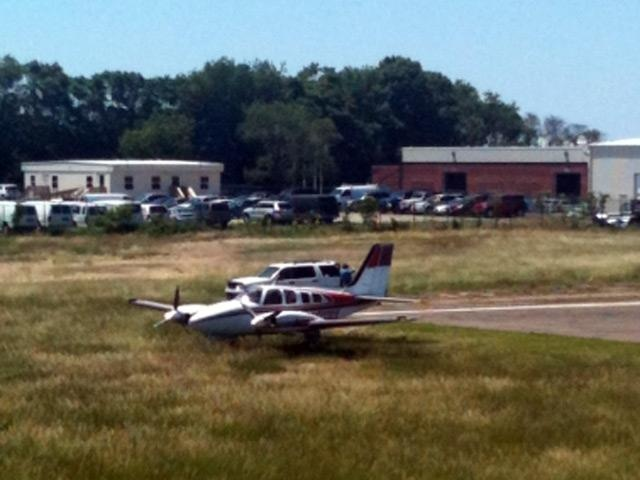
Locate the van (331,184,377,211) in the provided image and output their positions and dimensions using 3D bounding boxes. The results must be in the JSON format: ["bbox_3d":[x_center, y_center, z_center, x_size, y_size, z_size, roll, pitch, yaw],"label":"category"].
[{"bbox_3d":[2.775,-3.343,107.279,2.937,1.714,1.873,-1,5,-1],"label":"van"}]

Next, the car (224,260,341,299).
[{"bbox_3d":[-1.479,2.215,65.358,4.006,1.989,2.285,2,0,-20],"label":"car"}]

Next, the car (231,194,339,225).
[{"bbox_3d":[-1.949,-2.053,92.245,4.369,1.650,2.732,2,3,10],"label":"car"}]
